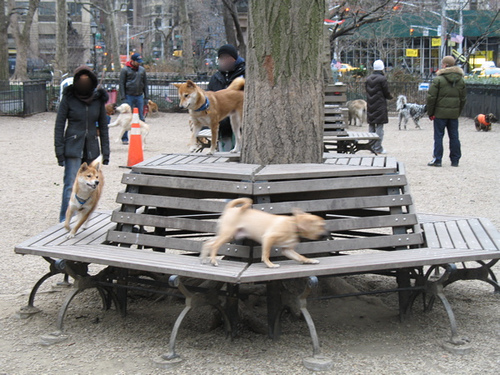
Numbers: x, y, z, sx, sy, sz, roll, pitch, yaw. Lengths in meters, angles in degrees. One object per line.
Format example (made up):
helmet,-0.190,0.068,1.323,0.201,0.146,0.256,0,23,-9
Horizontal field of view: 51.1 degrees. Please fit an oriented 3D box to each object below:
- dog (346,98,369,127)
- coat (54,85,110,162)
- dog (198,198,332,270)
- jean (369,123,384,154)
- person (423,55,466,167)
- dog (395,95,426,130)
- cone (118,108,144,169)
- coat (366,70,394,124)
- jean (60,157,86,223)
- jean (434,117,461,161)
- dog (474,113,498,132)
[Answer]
dog,4.985,-3.526,24.835,0.607,1.174,2.116,-1,6,-27
coat,-2.215,-0.850,6.889,0.716,0.978,0.449,-4,13,-17
dog,0.131,0.367,4.190,0.972,0.541,0.316,7,4,14
jean,3.508,-1.385,14.465,0.413,0.811,0.986,3,13,13
person,4.544,-1.742,12.121,0.802,2.557,0.786,5,14,21
dog,7.303,-3.397,23.645,1.218,1.451,2.358,4,13,16
cone,-2.606,-1.136,11.637,0.353,1.230,0.657,-2,13,-10
coat,3.547,-2.457,14.334,0.523,1.714,0.618,-4,9,-31
jean,-2.338,0.034,6.869,0.373,0.870,0.594,-4,14,-19
jean,4.600,-1.219,12.239,0.637,1.298,0.391,0,7,8
dog,9.546,-2.644,21.173,0.707,0.682,0.555,7,14,27
